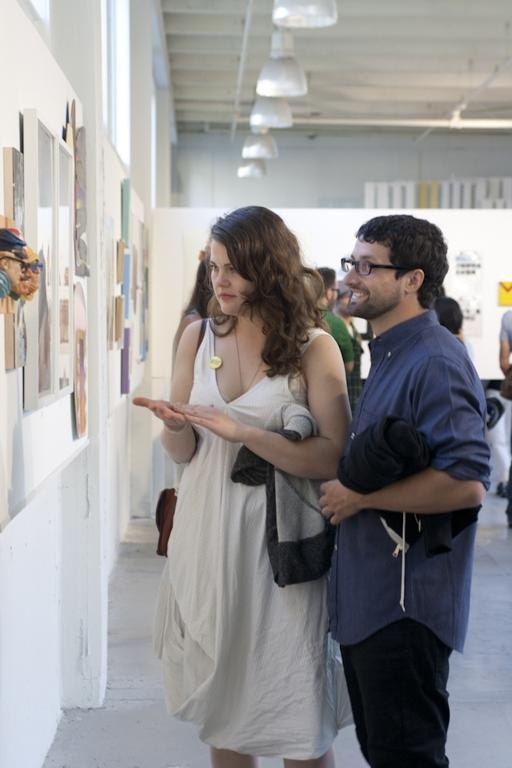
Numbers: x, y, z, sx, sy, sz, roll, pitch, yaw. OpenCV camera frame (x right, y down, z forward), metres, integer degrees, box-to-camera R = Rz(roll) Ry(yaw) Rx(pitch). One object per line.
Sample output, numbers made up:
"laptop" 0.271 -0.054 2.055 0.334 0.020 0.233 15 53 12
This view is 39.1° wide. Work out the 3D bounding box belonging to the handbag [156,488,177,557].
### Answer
"handbag" -0.218 0.364 1.899 0.048 0.150 0.141 3 -4 -1
